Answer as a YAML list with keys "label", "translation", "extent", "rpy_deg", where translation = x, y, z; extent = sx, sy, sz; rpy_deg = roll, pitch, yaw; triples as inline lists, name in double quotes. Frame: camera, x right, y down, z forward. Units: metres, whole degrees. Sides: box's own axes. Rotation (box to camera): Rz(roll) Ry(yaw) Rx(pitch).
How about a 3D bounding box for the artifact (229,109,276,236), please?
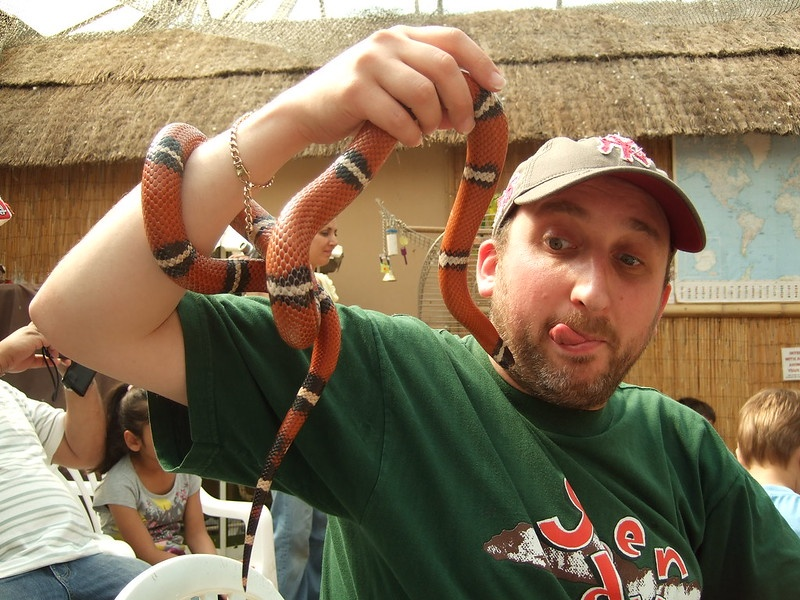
- label: "artifact"
  translation: [-0.633, -0.534, 3.162]
  extent: [0.059, 0.492, 0.250]
  rpy_deg: [-1, -3, 20]

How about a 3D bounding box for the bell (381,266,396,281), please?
- label: "bell"
  translation: [-0.142, -0.295, 8.576]
  extent: [0.136, 0.158, 0.141]
  rpy_deg: [-11, -27, 33]

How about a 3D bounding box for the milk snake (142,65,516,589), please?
- label: "milk snake"
  translation: [-0.594, -0.096, 3.895]
  extent: [1.563, 2.512, 0.563]
  rpy_deg: [4, 2, -5]

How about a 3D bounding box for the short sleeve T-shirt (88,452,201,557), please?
- label: "short sleeve T-shirt"
  translation: [-1.905, 1.639, 5.858]
  extent: [0.729, 0.798, 0.415]
  rpy_deg: [1, 6, -43]
